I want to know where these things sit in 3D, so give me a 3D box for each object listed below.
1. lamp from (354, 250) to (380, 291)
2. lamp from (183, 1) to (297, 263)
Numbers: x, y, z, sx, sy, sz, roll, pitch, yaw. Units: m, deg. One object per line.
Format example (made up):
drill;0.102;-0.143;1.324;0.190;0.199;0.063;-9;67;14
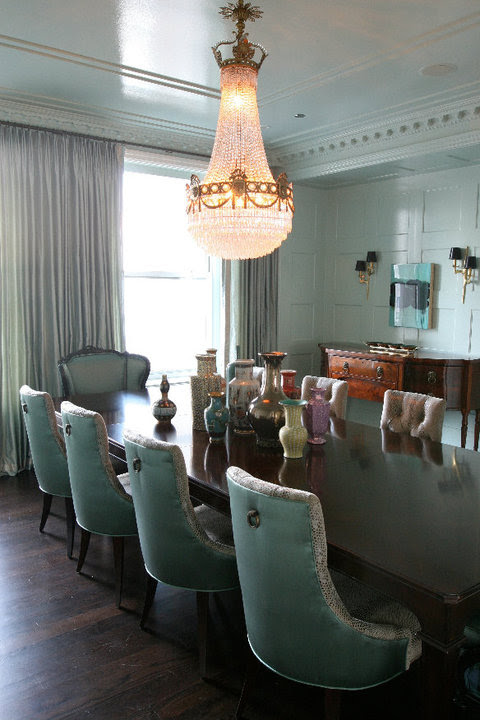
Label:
lamp;1.227;-0.907;5.165;0.188;0.340;0.350;-1;4;-21
lamp;0.000;-1.139;2.513;0.517;1.182;0.765;0;3;5
